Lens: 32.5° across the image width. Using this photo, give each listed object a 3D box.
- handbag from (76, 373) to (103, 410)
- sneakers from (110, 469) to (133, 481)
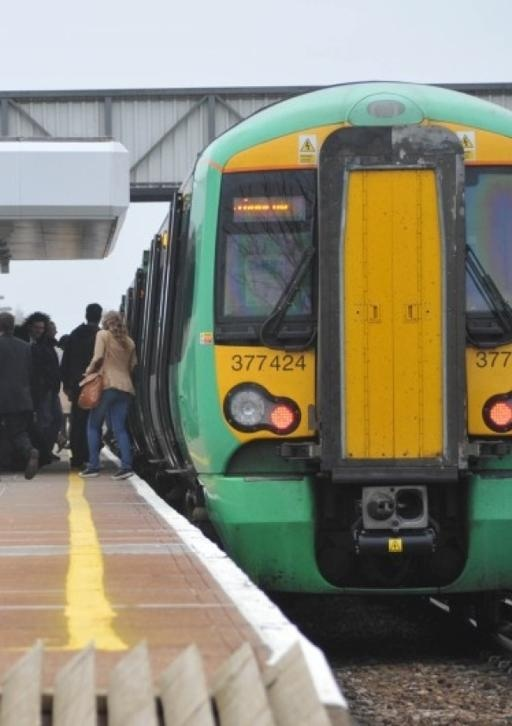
[{"bbox_3d":[-1.773,0.312,9.437,0.189,0.433,0.394,18,-3,-27],"label":"handbag"},{"bbox_3d":[-1.444,1.214,9.476,0.230,0.104,0.092,-8,11,7],"label":"sneakers"}]
